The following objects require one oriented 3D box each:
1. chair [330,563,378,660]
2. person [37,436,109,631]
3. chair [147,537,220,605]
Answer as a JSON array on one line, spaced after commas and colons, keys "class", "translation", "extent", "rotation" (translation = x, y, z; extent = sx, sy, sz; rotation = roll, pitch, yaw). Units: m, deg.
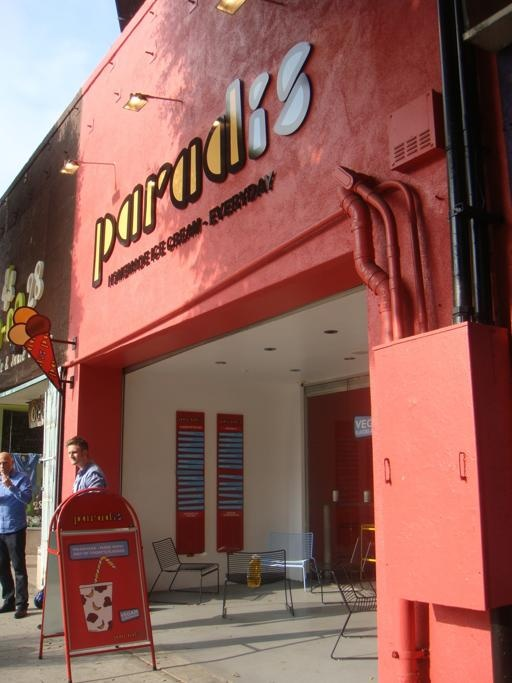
[{"class": "chair", "translation": [1.020, 2.738, 5.263], "extent": [0.312, 0.596, 0.466], "rotation": [6, -7, 2]}, {"class": "person", "translation": [-1.480, 1.513, 4.707], "extent": [0.468, 1.371, 0.637], "rotation": [0, 2, 33]}, {"class": "chair", "translation": [-0.991, 3.174, 7.710], "extent": [0.789, 1.061, 0.784], "rotation": [-7, -14, 20]}]
